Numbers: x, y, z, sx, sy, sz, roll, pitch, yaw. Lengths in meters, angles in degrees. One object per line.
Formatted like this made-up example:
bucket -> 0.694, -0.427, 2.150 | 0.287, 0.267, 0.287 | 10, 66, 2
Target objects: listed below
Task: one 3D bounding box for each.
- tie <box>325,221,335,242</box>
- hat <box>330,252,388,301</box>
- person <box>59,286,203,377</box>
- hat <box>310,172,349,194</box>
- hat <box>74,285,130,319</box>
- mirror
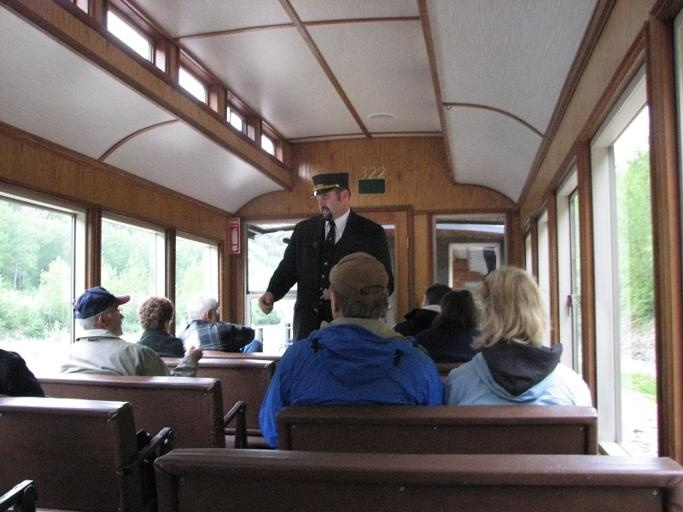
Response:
tie -> -0.091, -0.176, 4.000 | 0.039, 0.182, 0.047 | -1, -9, 9
hat -> 0.076, 0.083, 2.471 | 0.170, 0.133, 0.234 | -2, 4, -8
person -> -1.523, 0.524, 4.009 | 0.465, 0.729, 0.409 | -18, 8, 22
hat -> -0.058, -0.528, 3.961 | 0.159, 0.099, 0.194 | 9, 15, 41
hat -> -1.432, 0.263, 3.443 | 0.203, 0.152, 0.326 | 8, 26, 45
mirror -> 1.626, -0.075, 7.039 | 0.987, 1.228, 0.045 | -1, -5, 9
